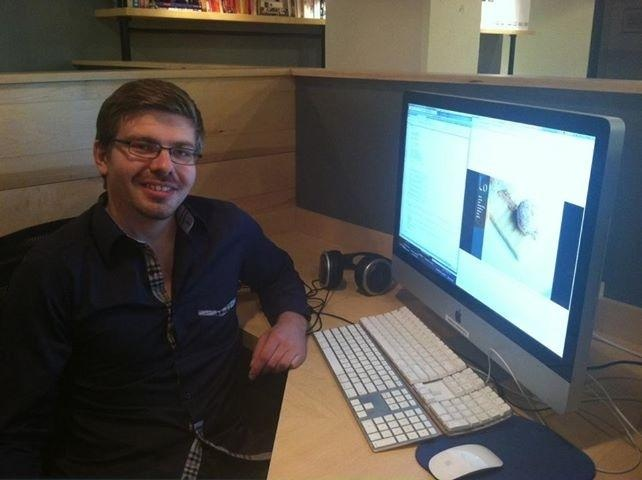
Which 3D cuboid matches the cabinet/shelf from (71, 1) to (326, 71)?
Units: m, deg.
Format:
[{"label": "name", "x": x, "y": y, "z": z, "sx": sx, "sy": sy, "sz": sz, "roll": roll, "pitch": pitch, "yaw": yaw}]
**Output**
[{"label": "cabinet/shelf", "x": -0.881, "y": -1.892, "z": 4.493, "sx": 2.370, "sy": 0.589, "sz": 1.514, "roll": -21, "pitch": 26, "yaw": -39}]
